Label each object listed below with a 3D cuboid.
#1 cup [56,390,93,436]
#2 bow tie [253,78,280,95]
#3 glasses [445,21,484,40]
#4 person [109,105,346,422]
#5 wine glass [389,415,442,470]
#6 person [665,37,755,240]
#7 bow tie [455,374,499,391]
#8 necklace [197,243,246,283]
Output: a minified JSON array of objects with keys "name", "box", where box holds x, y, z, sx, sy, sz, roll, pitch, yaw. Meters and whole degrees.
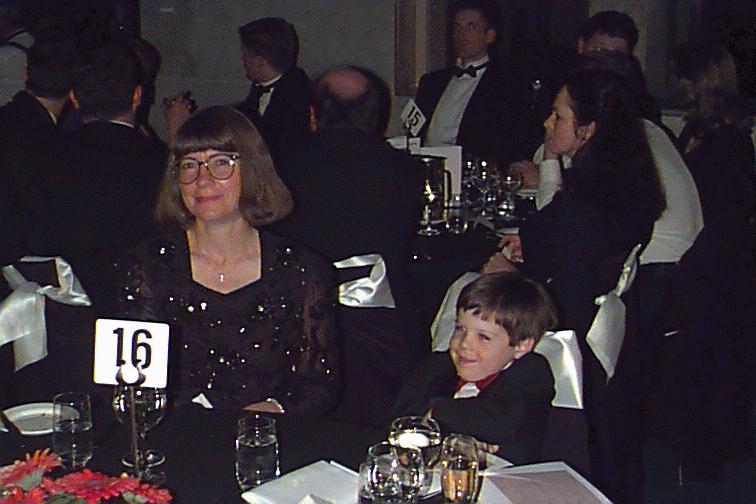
[{"name":"cup","box":[-0.976,0.531,2.398,0.129,0.120,0.123,1,-8,0]},{"name":"bow tie","box":[-0.649,-0.947,4.217,0.097,0.037,0.106,-5,4,0]},{"name":"glasses","box":[0.554,-1.332,4.416,0.149,0.100,0.121,2,10,-18]},{"name":"person","box":[-0.626,0.045,2.959,0.882,1.256,0.414,-2,11,-4]},{"name":"wine glass","box":[0.112,0.594,2.288,0.164,0.138,0.153,0,-10,-2]},{"name":"person","box":[1.458,-0.501,3.195,0.329,0.809,0.174,2,12,16]},{"name":"bow tie","box":[0.409,0.535,3.037,0.108,0.071,0.103,0,-5,-5]},{"name":"necklace","box":[-0.643,0.045,2.998,0.232,0.155,0.057,3,-1,-5]}]
